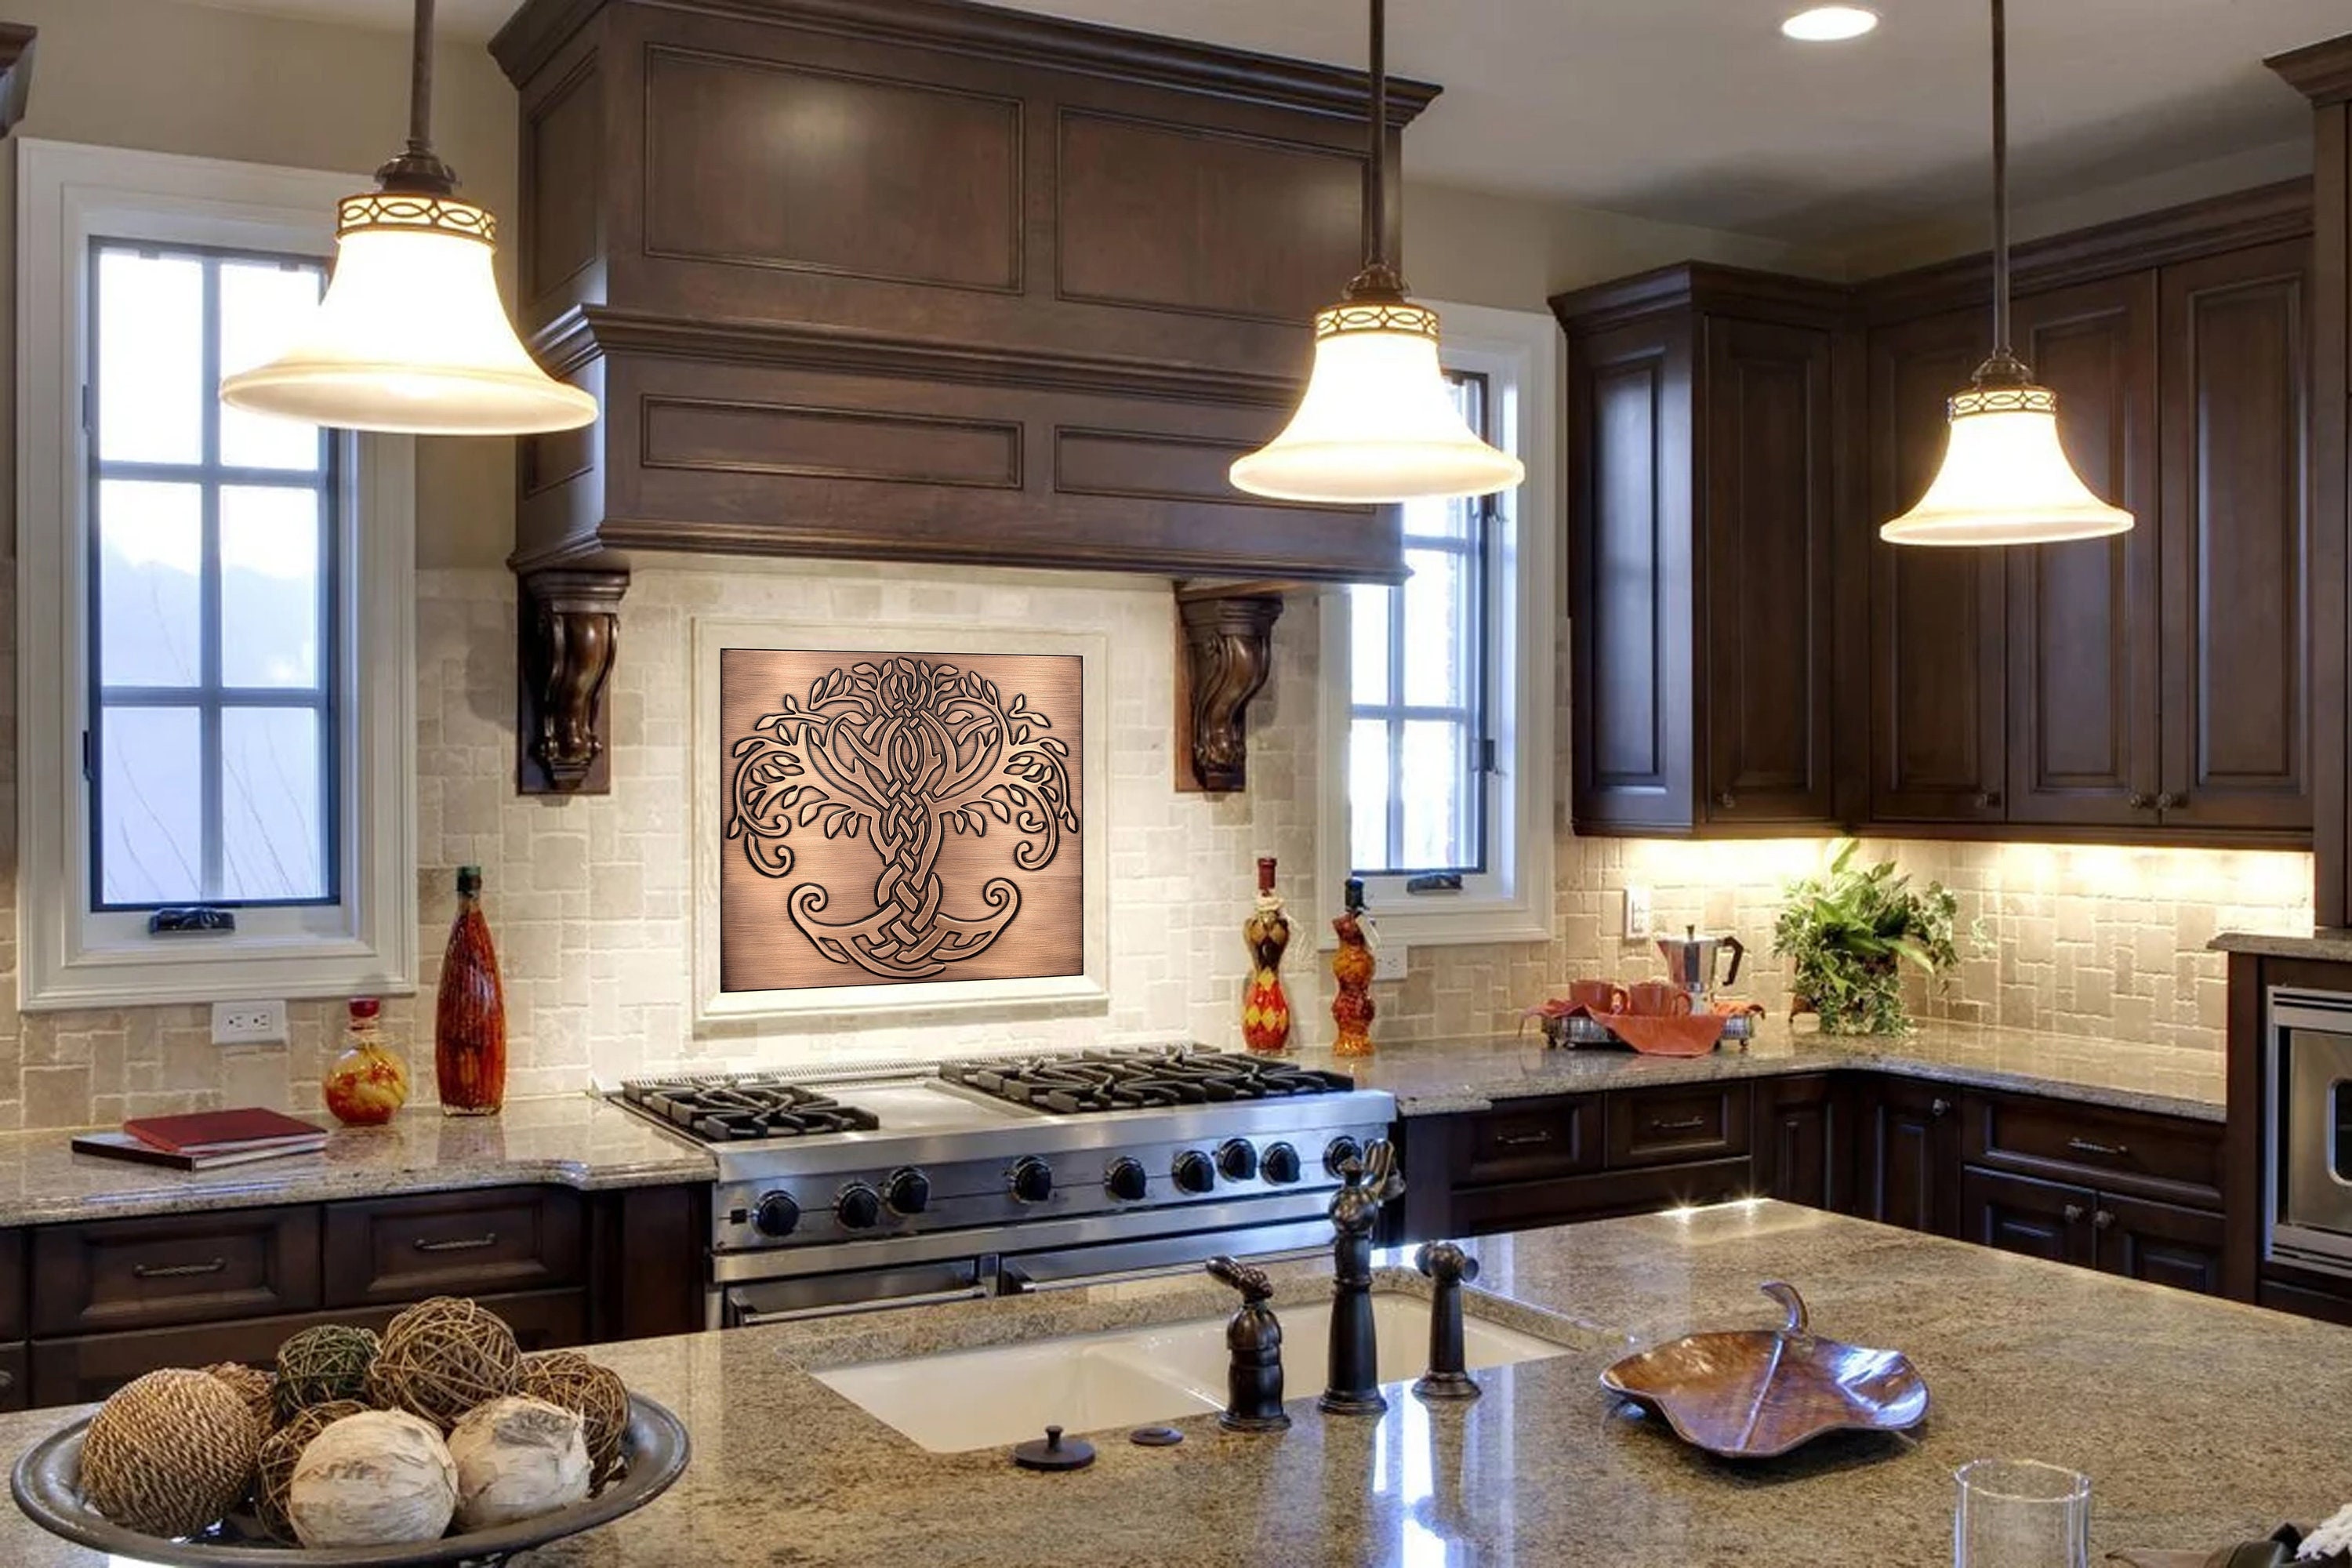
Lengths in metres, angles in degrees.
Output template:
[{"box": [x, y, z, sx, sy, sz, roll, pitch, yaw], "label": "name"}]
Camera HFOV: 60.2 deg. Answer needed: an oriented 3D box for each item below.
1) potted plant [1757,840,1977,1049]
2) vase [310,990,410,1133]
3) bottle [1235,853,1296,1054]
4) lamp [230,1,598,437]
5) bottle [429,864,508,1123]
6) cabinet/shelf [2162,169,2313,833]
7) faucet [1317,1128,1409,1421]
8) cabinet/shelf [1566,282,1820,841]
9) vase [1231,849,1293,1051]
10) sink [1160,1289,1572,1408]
[{"box": [2.064, 0.409, 5.838, 0.712, 0.631, 0.508, 0, -2, -16], "label": "potted plant"}, {"box": [-1.768, 0.590, 4.394, 0.203, 0.275, 0.205, 5, -2, -44], "label": "vase"}, {"box": [0.242, 0.437, 5.304, 0.124, 0.502, 0.188, 1, 5, 3], "label": "bottle"}, {"box": [-0.979, -0.726, 2.568, 0.349, 0.531, 0.313, 4, 6, 32], "label": "lamp"}, {"box": [-1.560, 0.439, 4.472, 0.136, 0.536, 0.288, -1, 5, -19], "label": "bottle"}, {"box": [2.618, -0.630, 5.003, 0.534, 1.519, 0.167, -4, 5, -20], "label": "cabinet/shelf"}, {"box": [0.259, 0.681, 2.818, 0.148, 0.350, 0.133, 0, -11, -9], "label": "faucet"}, {"box": [1.413, -0.632, 5.641, 0.734, 1.536, 0.380, 2, 5, 13], "label": "cabinet/shelf"}, {"box": [0.242, 0.437, 5.304, 0.125, 0.502, 0.187, 1, 5, 3], "label": "vase"}, {"box": [0.204, 0.871, 3.120, 0.334, 0.100, 0.256, -4, 5, -26], "label": "sink"}]
